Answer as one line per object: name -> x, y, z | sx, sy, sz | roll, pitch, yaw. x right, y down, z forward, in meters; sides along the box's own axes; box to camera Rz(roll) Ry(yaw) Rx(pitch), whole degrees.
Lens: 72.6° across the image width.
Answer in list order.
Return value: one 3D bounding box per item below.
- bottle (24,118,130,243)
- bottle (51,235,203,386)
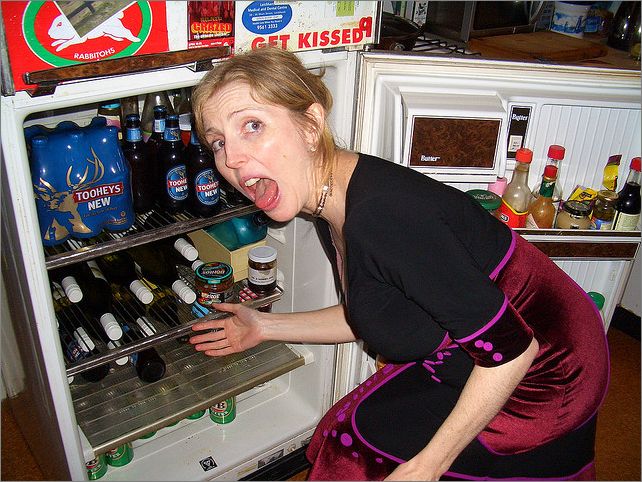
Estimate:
bottle -> -0.642, -0.153, 1.141 | 0.235, 0.305, 0.235 | 3, 23, -1
bottle -> -0.652, 0.228, 1.435 | 0.353, 0.219, 0.373 | -21, 37, 17
